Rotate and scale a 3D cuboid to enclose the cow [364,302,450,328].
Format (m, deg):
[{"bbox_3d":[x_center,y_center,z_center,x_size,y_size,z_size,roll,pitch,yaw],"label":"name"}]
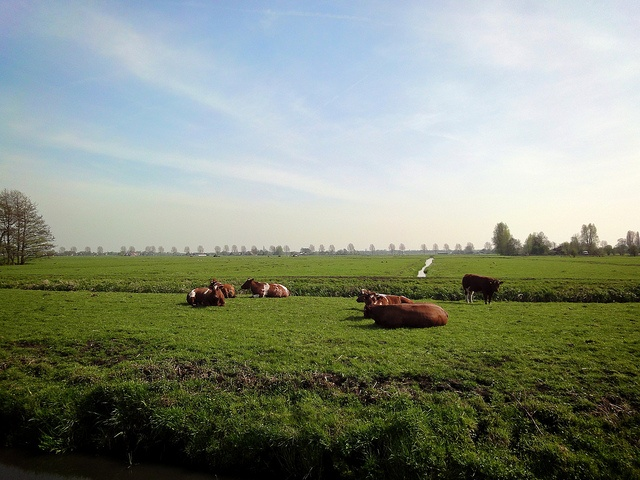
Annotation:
[{"bbox_3d":[4.842,4.455,24.457,4.292,1.647,1.550,2,5,2],"label":"cow"}]

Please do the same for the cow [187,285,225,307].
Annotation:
[{"bbox_3d":[-7.698,3.882,30.376,2.976,1.568,1.147,-4,-1,13],"label":"cow"}]
